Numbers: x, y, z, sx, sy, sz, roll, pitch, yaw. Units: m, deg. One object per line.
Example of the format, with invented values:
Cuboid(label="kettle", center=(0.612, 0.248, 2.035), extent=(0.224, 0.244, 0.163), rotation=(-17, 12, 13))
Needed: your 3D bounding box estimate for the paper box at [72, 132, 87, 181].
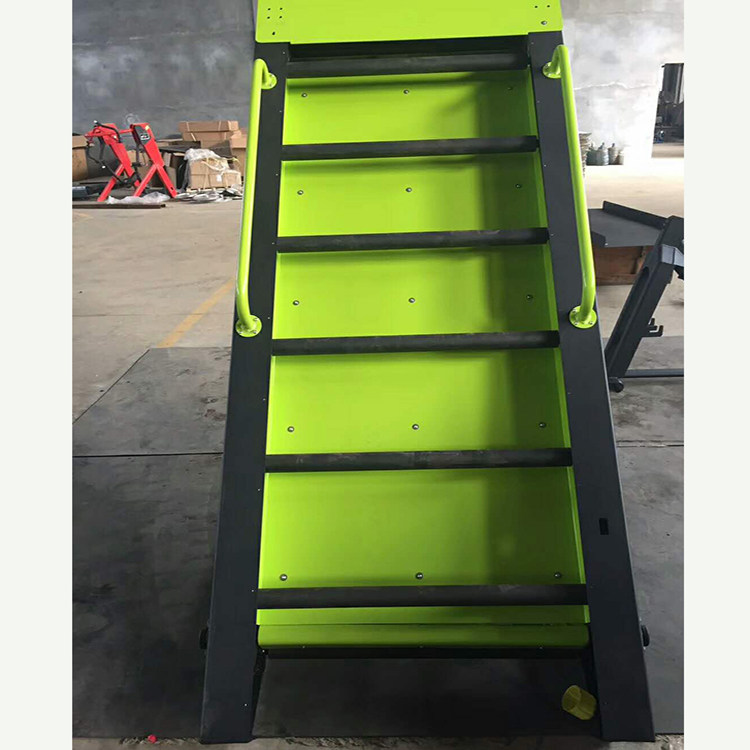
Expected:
Cuboid(label="paper box", center=(-4.184, -3.095, 10.344), extent=(0.168, 0.643, 0.328), rotation=(-2, 20, -3))

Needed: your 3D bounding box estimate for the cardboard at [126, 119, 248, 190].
Cuboid(label="cardboard", center=(-2.530, -3.107, 10.310), extent=(2.052, 1.264, 1.225), rotation=(-2, 19, -5))

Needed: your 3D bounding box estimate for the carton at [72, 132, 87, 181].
Cuboid(label="carton", center=(-4.184, -3.095, 10.344), extent=(0.168, 0.643, 0.328), rotation=(-2, 20, -3))

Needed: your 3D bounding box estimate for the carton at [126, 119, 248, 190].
Cuboid(label="carton", center=(-2.534, -3.078, 10.234), extent=(2.052, 1.264, 1.225), rotation=(-2, 19, -5))

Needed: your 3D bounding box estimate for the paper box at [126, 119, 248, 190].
Cuboid(label="paper box", center=(-2.526, -3.080, 10.298), extent=(2.052, 1.264, 1.225), rotation=(-2, 19, -5))

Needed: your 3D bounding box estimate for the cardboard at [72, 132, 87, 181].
Cuboid(label="cardboard", center=(-4.184, -3.095, 10.344), extent=(0.168, 0.643, 0.328), rotation=(-2, 20, -3))
